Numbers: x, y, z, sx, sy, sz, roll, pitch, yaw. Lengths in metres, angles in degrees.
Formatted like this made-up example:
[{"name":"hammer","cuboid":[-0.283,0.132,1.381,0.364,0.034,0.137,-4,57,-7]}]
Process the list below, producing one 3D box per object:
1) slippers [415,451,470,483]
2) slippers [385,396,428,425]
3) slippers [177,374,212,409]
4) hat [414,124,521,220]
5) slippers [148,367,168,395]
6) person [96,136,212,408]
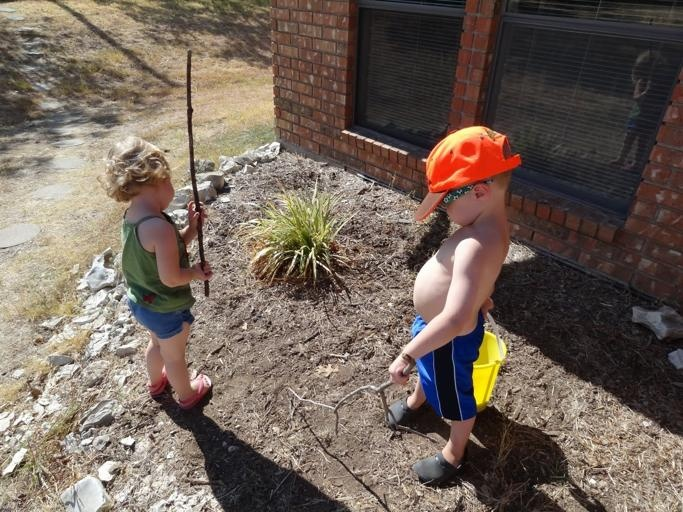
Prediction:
[{"name":"slippers","cuboid":[0.604,1.280,2.929,0.280,0.112,0.158,-14,61,10]},{"name":"slippers","cuboid":[0.436,1.024,3.237,0.249,0.105,0.128,-11,49,-7]},{"name":"slippers","cuboid":[-1.021,0.950,3.414,0.139,0.082,0.260,16,39,17]},{"name":"hat","cuboid":[0.628,-0.498,2.649,0.545,0.289,0.382,-28,14,13]},{"name":"slippers","cuboid":[-1.308,0.875,3.562,0.103,0.099,0.255,-6,37,3]},{"name":"person","cuboid":[-1.113,0.166,3.245,0.573,1.797,0.606,21,30,37]}]
